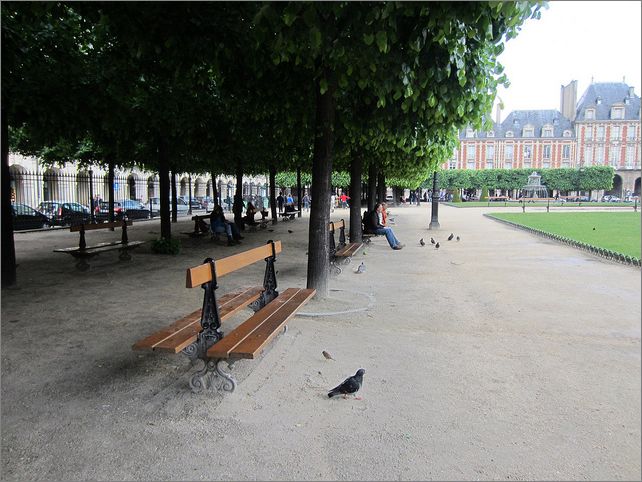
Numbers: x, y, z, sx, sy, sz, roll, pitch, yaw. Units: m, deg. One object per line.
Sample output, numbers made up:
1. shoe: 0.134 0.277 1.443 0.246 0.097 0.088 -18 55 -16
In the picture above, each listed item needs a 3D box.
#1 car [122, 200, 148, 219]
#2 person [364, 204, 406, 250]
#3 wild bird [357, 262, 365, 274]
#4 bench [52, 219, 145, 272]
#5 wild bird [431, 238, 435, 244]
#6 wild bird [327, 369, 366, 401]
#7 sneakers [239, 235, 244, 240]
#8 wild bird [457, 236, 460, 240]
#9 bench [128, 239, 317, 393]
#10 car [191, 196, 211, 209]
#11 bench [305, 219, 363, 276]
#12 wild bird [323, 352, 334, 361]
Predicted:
1. car: -11.463 -1.881 29.713 0.891 0.977 1.762 13 16 40
2. person: 2.126 -0.458 15.865 1.012 1.647 0.607 -6 0 29
3. wild bird: 0.962 0.656 11.544 0.137 0.220 0.466 0 -6 6
4. bench: -5.487 0.072 12.200 0.783 1.105 2.180 4 7 18
5. wild bird: 3.794 -0.006 16.302 0.080 0.176 0.171 -24 26 16
6. wild bird: 0.273 1.561 5.328 0.398 0.327 0.237 -5 7 -12
7. sneakers: -2.988 -0.135 18.029 0.159 0.077 0.173 6 7 22
8. wild bird: 4.980 -0.097 17.404 0.108 0.107 0.122 -4 11 -45
9. bench: -1.023 0.864 6.433 1.193 1.705 2.938 1 7 13
10. car: -11.006 -3.590 43.567 1.195 1.044 2.606 -3 5 -40
11. bench: 0.542 0.090 12.534 0.748 1.269 3.114 0 3 10
12. wild bird: 0.092 1.462 6.129 0.143 0.108 0.164 0 11 -1
